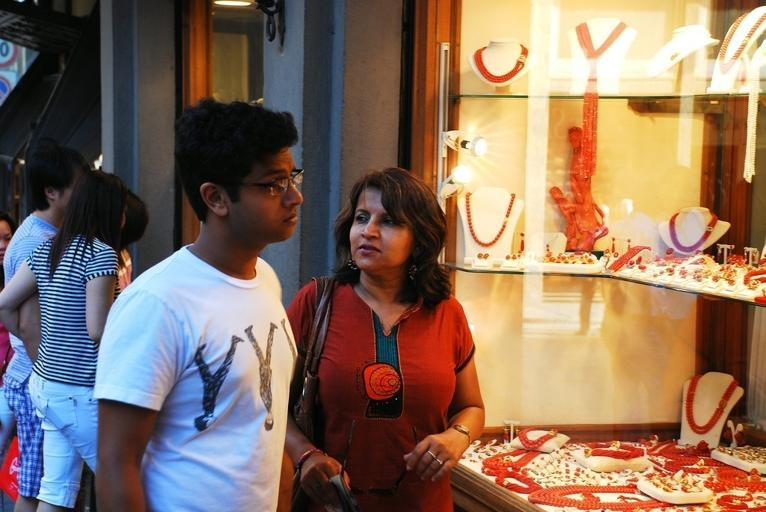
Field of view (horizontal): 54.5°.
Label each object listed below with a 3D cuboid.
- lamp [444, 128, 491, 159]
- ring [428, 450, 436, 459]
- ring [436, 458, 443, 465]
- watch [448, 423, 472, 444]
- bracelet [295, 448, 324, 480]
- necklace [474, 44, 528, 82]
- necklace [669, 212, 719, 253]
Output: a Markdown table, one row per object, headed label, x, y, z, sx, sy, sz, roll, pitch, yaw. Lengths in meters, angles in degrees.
| label | x | y | z | sx | sy | sz | roll | pitch | yaw |
| --- | --- | --- | --- | --- | --- | --- | --- | --- | --- |
| lamp | 0.425 | -0.600 | 3.873 | 0.200 | 0.084 | 0.116 | 10 | -19 | 10 |
| ring | 0.192 | 0.779 | 2.906 | 0.008 | 0.024 | 0.021 | -38 | -9 | 10 |
| ring | 0.220 | 0.803 | 2.901 | 0.021 | 0.005 | 0.023 | 39 | 11 | -9 |
| watch | 0.316 | 0.730 | 3.028 | 0.086 | 0.078 | 0.056 | 2 | 0 | 6 |
| bracelet | -0.275 | 0.810 | 2.944 | 0.032 | 0.128 | 0.120 | 21 | -24 | -16 |
| necklace | 0.611 | -1.007 | 3.829 | 0.282 | 0.215 | 0.176 | 0 | 15 | 0 |
| necklace | 1.467 | -0.129 | 3.590 | 0.254 | 0.277 | 0.157 | 3 | 5 | 41 |
